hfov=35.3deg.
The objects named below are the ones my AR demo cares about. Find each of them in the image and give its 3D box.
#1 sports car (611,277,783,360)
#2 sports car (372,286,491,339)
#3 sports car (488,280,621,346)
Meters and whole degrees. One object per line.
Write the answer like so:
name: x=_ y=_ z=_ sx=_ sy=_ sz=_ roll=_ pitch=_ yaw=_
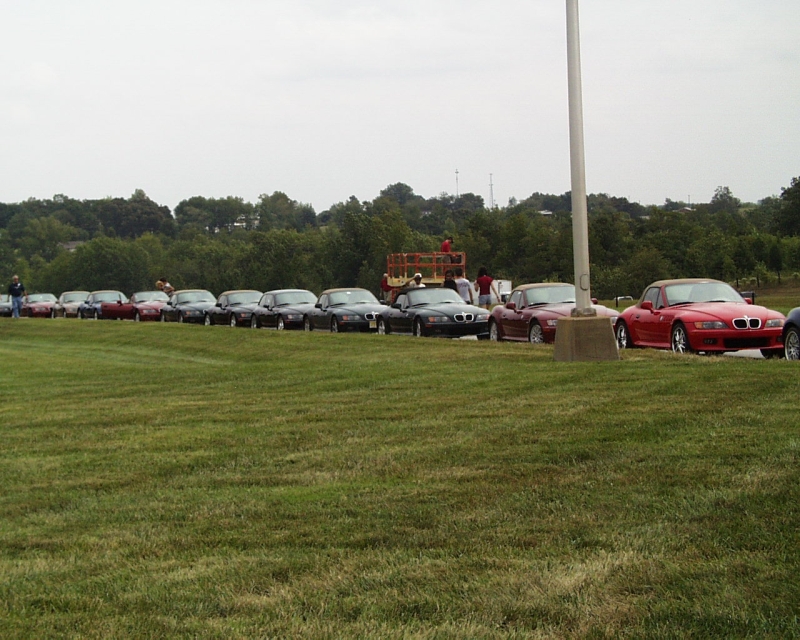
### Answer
sports car: x=4.724 y=-0.051 z=20.550 sx=1.765 sy=1.147 sz=3.608 roll=-3 pitch=2 yaw=-13
sports car: x=0.614 y=-0.149 z=27.307 sx=1.744 sy=1.078 sz=3.280 roll=-4 pitch=2 yaw=-23
sports car: x=2.833 y=-0.135 z=24.409 sx=1.769 sy=1.189 sz=3.384 roll=-7 pitch=5 yaw=-17
